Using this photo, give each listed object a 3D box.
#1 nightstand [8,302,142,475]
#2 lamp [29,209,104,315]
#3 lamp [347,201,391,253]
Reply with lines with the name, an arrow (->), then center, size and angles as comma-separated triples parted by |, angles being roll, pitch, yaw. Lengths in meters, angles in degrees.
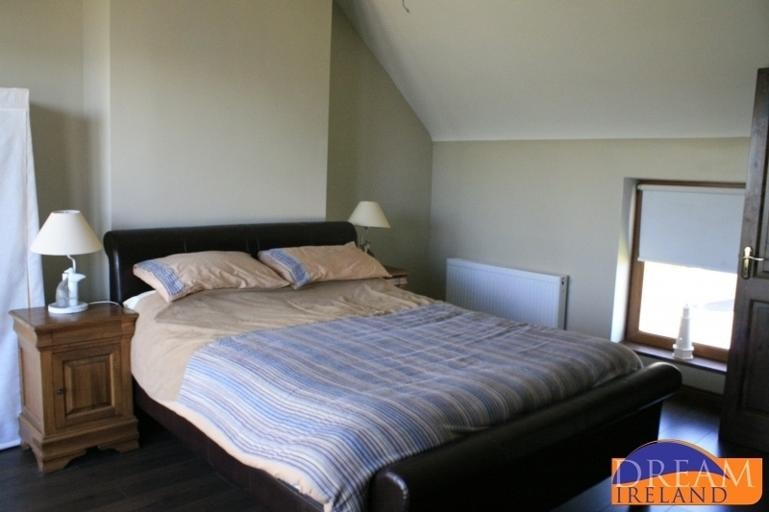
nightstand -> -2.181, 0.880, 3.954 | 0.689, 0.931, 0.704 | 5, 7, 33
lamp -> -2.254, 0.029, 3.935 | 0.387, 0.693, 0.547 | -5, 10, -40
lamp -> -0.190, -0.264, 5.545 | 0.327, 0.549, 0.363 | 15, 15, 2
